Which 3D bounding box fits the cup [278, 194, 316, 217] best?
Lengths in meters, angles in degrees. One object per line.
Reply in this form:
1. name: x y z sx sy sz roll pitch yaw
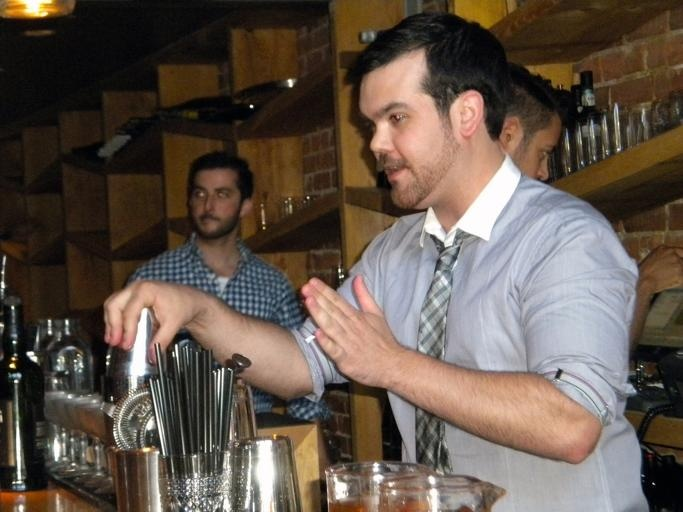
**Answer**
1. cup: -0.205 -0.228 3.230 0.108 0.082 0.112 0 -4 0
